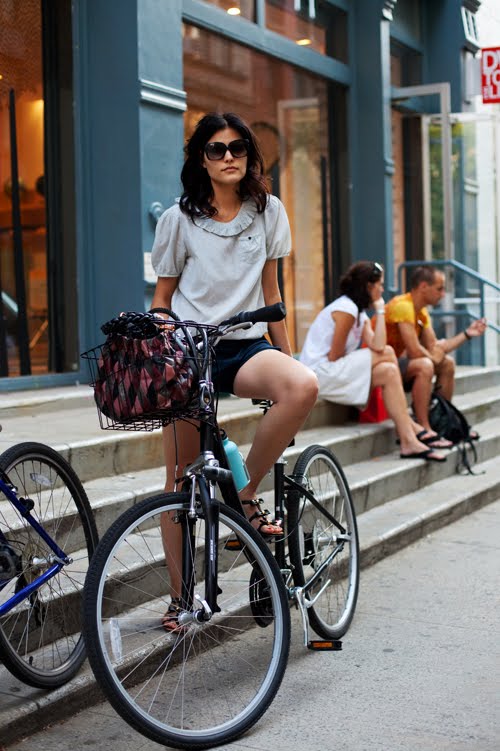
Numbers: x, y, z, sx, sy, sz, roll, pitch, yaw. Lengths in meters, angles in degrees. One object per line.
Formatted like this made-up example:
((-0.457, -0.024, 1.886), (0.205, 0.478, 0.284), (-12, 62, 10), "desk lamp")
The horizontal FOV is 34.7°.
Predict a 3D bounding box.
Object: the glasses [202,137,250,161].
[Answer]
((-0.073, -0.726, 2.584), (0.136, 0.075, 0.051), (0, 2, -5), "glasses")

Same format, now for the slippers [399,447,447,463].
((1.209, 0.557, 5.558), (0.308, 0.069, 0.115), (-1, 5, 11), "slippers")

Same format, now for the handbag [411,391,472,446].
((1.463, 0.354, 6.006), (0.158, 0.403, 0.288), (-22, 21, 43), "handbag")

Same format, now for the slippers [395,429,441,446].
((1.227, 0.449, 5.840), (0.315, 0.080, 0.121), (3, 5, 37), "slippers")

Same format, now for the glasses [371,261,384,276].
((0.889, -0.719, 5.488), (0.063, 0.119, 0.091), (-26, 41, -19), "glasses")

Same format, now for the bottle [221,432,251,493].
((-0.068, 0.304, 2.810), (0.111, 0.181, 0.108), (-18, 11, 3), "bottle")

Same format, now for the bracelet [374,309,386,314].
((0.923, -0.449, 5.616), (0.039, 0.038, 0.041), (1, 9, -2), "bracelet")

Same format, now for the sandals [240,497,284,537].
((0.024, 0.484, 2.766), (0.078, 0.080, 0.211), (0, -1, -33), "sandals")

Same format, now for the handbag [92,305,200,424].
((-0.315, -0.023, 2.150), (0.214, 0.266, 0.306), (5, -4, -21), "handbag")

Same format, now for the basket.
((-0.244, 0.015, 2.150), (0.291, 0.183, 0.291), (-11, -13, 36), "basket")
